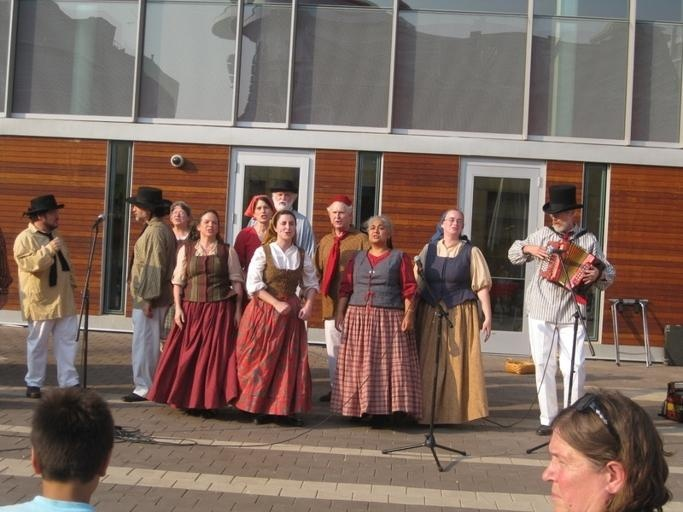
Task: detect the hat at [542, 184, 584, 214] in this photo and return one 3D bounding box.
[{"bbox_3d":[2.755,-0.711,17.008,0.287,0.420,0.469,-12,20,-43],"label":"hat"}]

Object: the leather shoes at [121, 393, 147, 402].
[{"bbox_3d":[-2.654,1.828,17.426,0.359,0.131,0.124,7,-8,-11],"label":"leather shoes"}]

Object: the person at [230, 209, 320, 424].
[{"bbox_3d":[-0.791,0.778,16.836,0.984,2.623,0.994,3,15,-1],"label":"person"}]

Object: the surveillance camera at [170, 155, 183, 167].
[{"bbox_3d":[-2.564,-1.510,21.234,0.211,0.213,0.141,2,15,-5],"label":"surveillance camera"}]

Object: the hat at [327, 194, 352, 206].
[{"bbox_3d":[0.005,-0.762,17.918,0.301,0.106,0.282,1,3,-11],"label":"hat"}]

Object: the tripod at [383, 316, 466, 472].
[{"bbox_3d":[1.163,1.545,16.285,0.942,1.636,1.419,8,16,19],"label":"tripod"}]

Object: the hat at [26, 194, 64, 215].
[{"bbox_3d":[-3.903,-0.631,17.642,0.401,0.135,0.345,-13,1,22],"label":"hat"}]

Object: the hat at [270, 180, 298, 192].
[{"bbox_3d":[-0.768,-0.939,18.024,0.286,0.223,0.483,-1,14,-12],"label":"hat"}]

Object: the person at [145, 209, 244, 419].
[{"bbox_3d":[-1.764,0.678,16.977,1.062,2.366,1.044,2,15,-2],"label":"person"}]

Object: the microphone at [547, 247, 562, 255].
[{"bbox_3d":[2.633,-0.065,16.743,0.074,0.102,0.184,-6,16,-30],"label":"microphone"}]

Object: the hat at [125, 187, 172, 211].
[{"bbox_3d":[-2.566,-0.789,17.794,0.394,0.136,0.405,-2,17,-42],"label":"hat"}]
